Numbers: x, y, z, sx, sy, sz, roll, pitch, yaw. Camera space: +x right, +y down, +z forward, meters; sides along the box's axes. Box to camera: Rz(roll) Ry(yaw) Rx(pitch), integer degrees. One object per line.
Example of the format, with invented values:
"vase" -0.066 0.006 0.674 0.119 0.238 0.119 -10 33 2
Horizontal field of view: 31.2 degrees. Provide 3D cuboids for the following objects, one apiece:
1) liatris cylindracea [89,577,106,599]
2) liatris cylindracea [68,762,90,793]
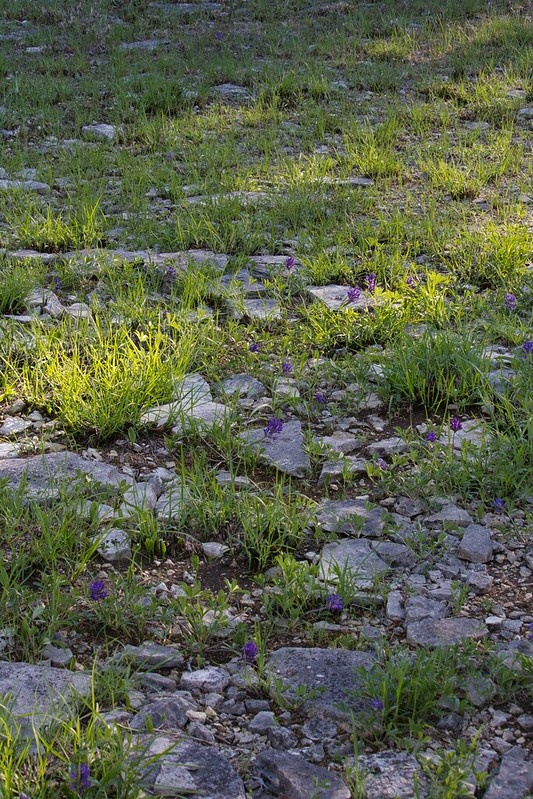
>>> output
"liatris cylindracea" -0.459 0.511 2.561 0.037 0.044 0.036 23 32 24
"liatris cylindracea" -0.383 0.778 1.961 0.057 0.058 0.074 14 -24 -23
